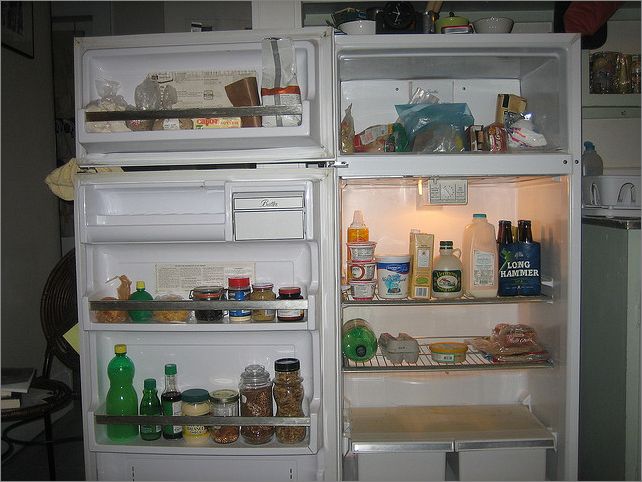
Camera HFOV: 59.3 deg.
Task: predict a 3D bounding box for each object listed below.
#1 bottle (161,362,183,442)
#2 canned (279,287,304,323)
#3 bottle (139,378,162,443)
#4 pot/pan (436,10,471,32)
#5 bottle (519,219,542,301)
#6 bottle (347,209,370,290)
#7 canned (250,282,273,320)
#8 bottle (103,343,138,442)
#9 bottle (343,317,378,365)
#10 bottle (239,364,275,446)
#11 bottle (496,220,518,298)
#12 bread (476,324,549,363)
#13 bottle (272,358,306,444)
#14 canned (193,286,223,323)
[{"bbox_3d":[-0.629,0.660,2.343,0.087,0.311,0.185,-4,0,-17],"label":"bottle"},{"bbox_3d":[-0.120,0.263,2.327,0.127,0.130,0.125,-1,0,-43],"label":"canned"},{"bbox_3d":[-0.718,0.692,2.352,0.092,0.256,0.186,-4,0,-18],"label":"bottle"},{"bbox_3d":[0.559,-0.910,2.383,0.107,0.082,0.107,8,14,35],"label":"pot/pan"},{"bbox_3d":[0.911,0.072,2.477,0.101,0.321,0.111,-4,0,0],"label":"bottle"},{"bbox_3d":[0.162,0.009,2.517,0.109,0.301,0.272,-4,0,4],"label":"bottle"},{"bbox_3d":[-0.239,0.250,2.293,0.126,0.144,0.135,1,-5,-3],"label":"canned"},{"bbox_3d":[-0.834,0.621,2.333,0.131,0.400,0.169,-4,0,-19],"label":"bottle"},{"bbox_3d":[0.165,0.450,2.489,0.155,0.190,0.185,-4,0,-1],"label":"bottle"},{"bbox_3d":[-0.267,0.666,2.306,0.138,0.322,0.175,-4,0,-6],"label":"bottle"},{"bbox_3d":[0.811,0.078,2.464,0.084,0.327,0.069,-4,0,16],"label":"bottle"},{"bbox_3d":[0.832,0.450,2.505,0.241,0.158,0.272,-4,1,-15],"label":"bread"},{"bbox_3d":[-0.132,0.649,2.290,0.127,0.342,0.140,-4,0,-4],"label":"bottle"},{"bbox_3d":[-0.470,0.260,2.316,0.123,0.140,0.110,-4,0,7],"label":"canned"}]
